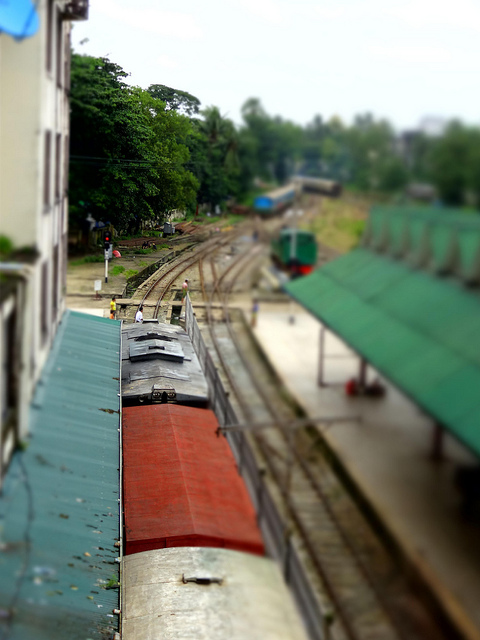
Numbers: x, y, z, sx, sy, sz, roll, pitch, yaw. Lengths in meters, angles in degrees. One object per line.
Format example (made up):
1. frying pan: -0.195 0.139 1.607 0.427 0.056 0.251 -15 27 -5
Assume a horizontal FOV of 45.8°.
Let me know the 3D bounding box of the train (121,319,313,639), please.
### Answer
1. train: -0.861 2.178 9.788 1.215 1.357 8.405 0 17 -5
